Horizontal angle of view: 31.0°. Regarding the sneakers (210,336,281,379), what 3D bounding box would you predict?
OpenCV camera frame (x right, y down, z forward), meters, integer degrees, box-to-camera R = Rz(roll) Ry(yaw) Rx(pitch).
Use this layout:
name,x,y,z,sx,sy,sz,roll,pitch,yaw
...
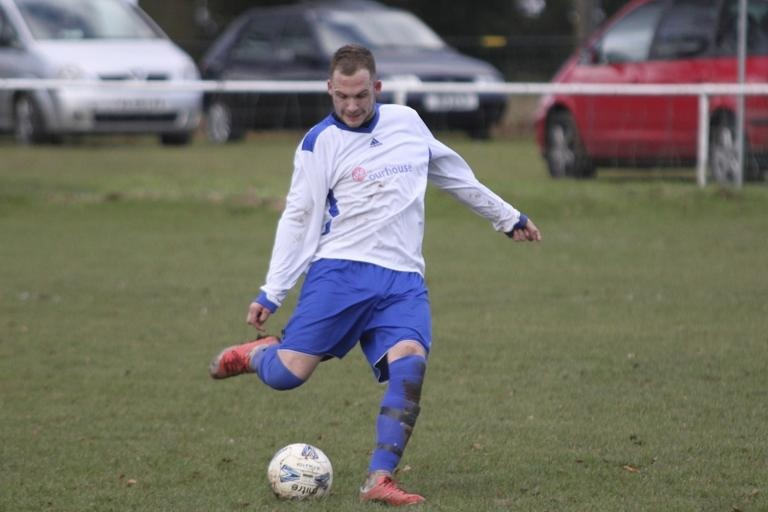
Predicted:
name,x,y,z,sx,sy,sz,roll,pitch,yaw
sneakers,-0.963,0.755,9.575,0.409,0.196,0.269,-22,10,9

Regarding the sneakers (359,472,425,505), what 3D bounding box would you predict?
name,x,y,z,sx,sy,sz,roll,pitch,yaw
sneakers,0.027,1.505,9.048,0.475,0.217,0.163,1,-3,3

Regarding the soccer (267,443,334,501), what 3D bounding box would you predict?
name,x,y,z,sx,sy,sz,roll,pitch,yaw
soccer,-0.563,1.414,9.158,0.363,0.294,0.348,-7,-8,40
